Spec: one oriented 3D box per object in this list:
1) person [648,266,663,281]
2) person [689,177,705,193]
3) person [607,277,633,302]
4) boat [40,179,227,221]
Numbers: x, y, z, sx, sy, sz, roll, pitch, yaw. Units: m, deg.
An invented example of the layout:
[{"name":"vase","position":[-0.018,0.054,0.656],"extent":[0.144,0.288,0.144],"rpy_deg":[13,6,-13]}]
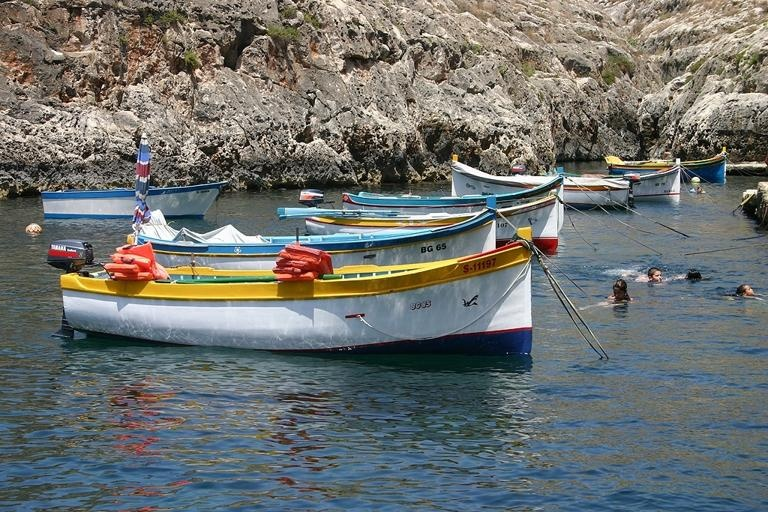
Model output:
[{"name":"person","position":[11.109,0.809,42.967],"extent":[0.561,0.529,0.634],"rpy_deg":[-1,6,13]},{"name":"person","position":[22.338,-5.004,74.959],"extent":[1.106,0.673,3.156],"rpy_deg":[-12,8,9]},{"name":"person","position":[9.130,1.381,40.568],"extent":[0.851,0.835,0.715],"rpy_deg":[-1,7,13]},{"name":"boat","position":[-14.503,-3.186,58.766],"extent":[13.416,1.570,2.911],"rpy_deg":[-1,2,0]}]
